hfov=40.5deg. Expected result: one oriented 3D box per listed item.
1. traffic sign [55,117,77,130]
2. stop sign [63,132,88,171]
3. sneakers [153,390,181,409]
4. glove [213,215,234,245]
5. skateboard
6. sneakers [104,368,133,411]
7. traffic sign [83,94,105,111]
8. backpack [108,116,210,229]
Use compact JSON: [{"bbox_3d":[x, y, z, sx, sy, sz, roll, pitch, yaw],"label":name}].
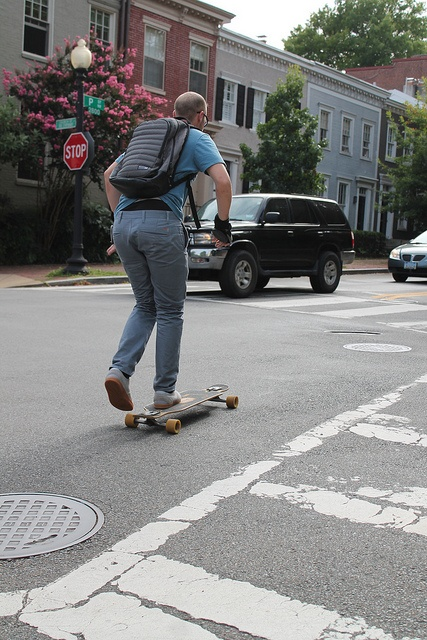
[{"bbox_3d":[-4.012,-5.382,15.739,0.466,0.343,0.800,-1,4,-20],"label":"traffic sign"},{"bbox_3d":[-3.664,-4.533,15.493,0.917,1.018,0.234,4,5,40],"label":"stop sign"},{"bbox_3d":[-0.317,0.518,3.795,0.075,0.075,0.192,1,6,19],"label":"sneakers"},{"bbox_3d":[0.077,-0.579,3.849,0.191,0.178,0.113,4,3,-37],"label":"glove"},{"bbox_3d":[-0.190,0.588,3.976,0.273,0.116,0.705,4,10,33],"label":"skateboard"},{"bbox_3d":[-0.590,0.442,3.678,0.129,0.299,0.126,-2,42,20],"label":"sneakers"},{"bbox_3d":[-3.165,-5.774,15.367,0.469,0.445,0.512,-1,4,-14],"label":"traffic sign"},{"bbox_3d":[-0.392,-1.034,3.677,0.541,0.544,0.368,0,4,-2],"label":"backpack"}]
